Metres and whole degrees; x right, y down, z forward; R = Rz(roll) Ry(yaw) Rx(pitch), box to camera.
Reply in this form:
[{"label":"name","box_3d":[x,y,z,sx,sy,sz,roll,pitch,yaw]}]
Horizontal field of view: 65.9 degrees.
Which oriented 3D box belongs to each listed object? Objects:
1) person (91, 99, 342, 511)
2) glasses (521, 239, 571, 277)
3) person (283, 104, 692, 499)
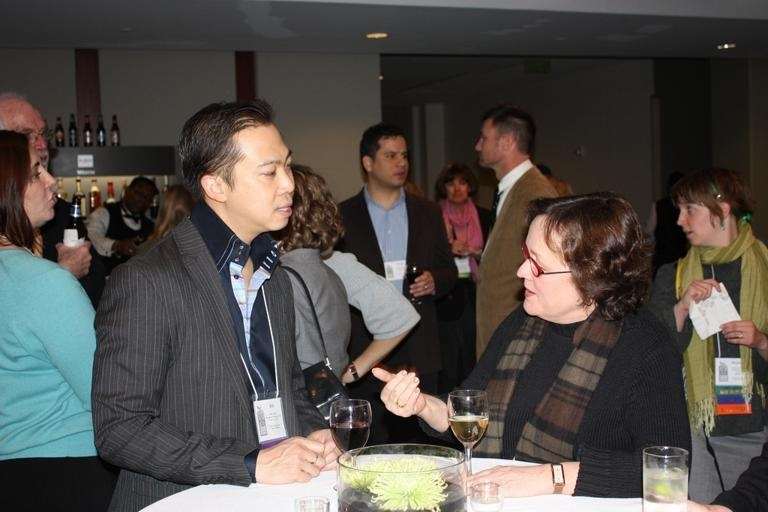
[{"label":"person","box_3d":[-0.617,0.177,2.190,0.850,1.539,0.585,-2,4,-27]},{"label":"glasses","box_3d":[0.657,0.008,2.390,0.146,0.044,0.142,4,18,-8]},{"label":"person","box_3d":[0.901,0.208,3.071,1.123,1.838,1.245,3,-2,-13]}]
